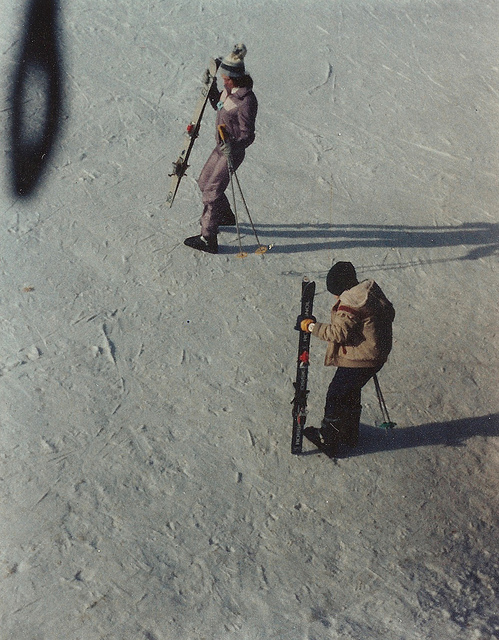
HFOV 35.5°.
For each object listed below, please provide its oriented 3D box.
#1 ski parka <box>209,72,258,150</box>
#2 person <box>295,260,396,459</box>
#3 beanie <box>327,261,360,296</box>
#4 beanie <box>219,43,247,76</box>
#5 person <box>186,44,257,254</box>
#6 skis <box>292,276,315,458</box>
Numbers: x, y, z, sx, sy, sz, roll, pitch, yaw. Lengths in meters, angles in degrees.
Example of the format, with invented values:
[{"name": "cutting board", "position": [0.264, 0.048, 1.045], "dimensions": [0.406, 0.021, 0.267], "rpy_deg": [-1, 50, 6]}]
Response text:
[{"name": "ski parka", "position": [-0.161, -2.378, 8.767], "dimensions": [0.536, 0.873, 0.555], "rpy_deg": [-1, 40, -3]}, {"name": "person", "position": [0.924, 0.486, 7.594], "dimensions": [1.050, 1.986, 0.938], "rpy_deg": [27, 46, 32]}, {"name": "beanie", "position": [0.855, -0.389, 7.211], "dimensions": [0.262, 0.242, 0.305], "rpy_deg": [11, 74, 35]}, {"name": "beanie", "position": [-0.135, -2.808, 8.470], "dimensions": [0.268, 0.312, 0.330], "rpy_deg": [38, 55, 17]}, {"name": "person", "position": [-0.324, -1.885, 9.057], "dimensions": [0.632, 2.391, 1.185], "rpy_deg": [8, 53, -6]}, {"name": "skis", "position": [0.515, 0.461, 7.391], "dimensions": [0.194, 0.195, 1.733], "rpy_deg": [2, 98, -11]}]
